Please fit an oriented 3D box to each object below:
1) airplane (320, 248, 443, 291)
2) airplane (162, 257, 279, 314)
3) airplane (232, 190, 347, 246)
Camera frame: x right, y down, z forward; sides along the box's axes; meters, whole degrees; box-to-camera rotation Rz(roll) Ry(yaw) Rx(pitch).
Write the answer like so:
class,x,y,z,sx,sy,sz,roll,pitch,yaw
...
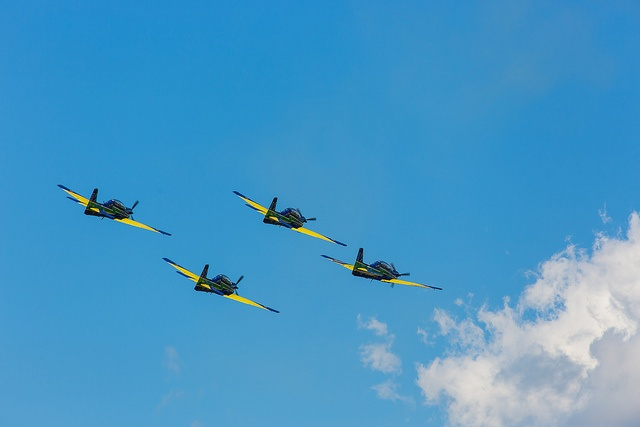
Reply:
class,x,y,z,sx,sy,sz,roll,pitch,yaw
airplane,15.177,16.670,298.046,35.992,20.419,10.336,11,-89,46
airplane,-27.010,18.480,291.280,36.195,17.762,8.618,20,-87,36
airplane,-6.834,1.637,232.179,13.314,8.104,3.703,31,-71,26
